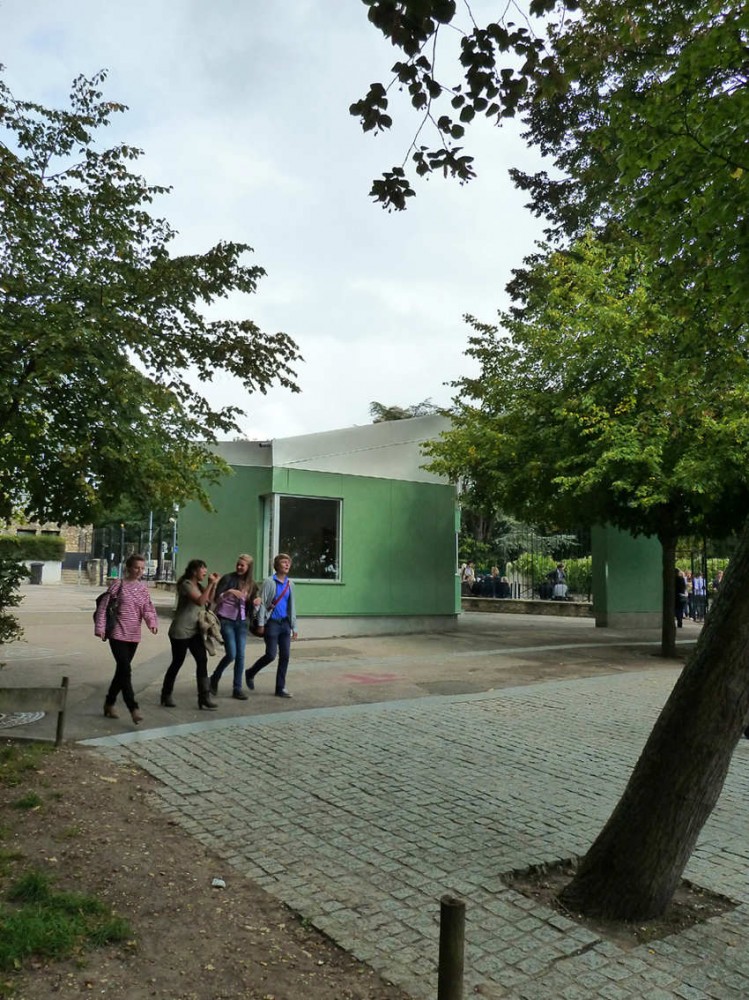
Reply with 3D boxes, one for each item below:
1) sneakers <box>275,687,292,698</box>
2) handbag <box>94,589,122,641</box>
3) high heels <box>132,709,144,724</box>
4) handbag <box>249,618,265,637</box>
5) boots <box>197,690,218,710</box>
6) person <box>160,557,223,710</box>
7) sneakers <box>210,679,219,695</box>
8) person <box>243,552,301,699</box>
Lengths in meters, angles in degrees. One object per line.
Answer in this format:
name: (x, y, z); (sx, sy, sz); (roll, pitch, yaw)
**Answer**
sneakers: (-1.113, 2.392, 9.639); (0.088, 0.105, 0.253); (4, -8, -34)
handbag: (-2.662, 1.150, 7.915); (0.265, 0.537, 0.451); (2, -4, -17)
high heels: (-2.325, 2.145, 7.725); (0.069, 0.097, 0.164); (-17, 30, -37)
handbag: (-1.429, 1.600, 9.580); (0.175, 0.200, 0.224); (1, -5, 3)
boots: (-1.851, 2.253, 8.780); (0.203, 0.197, 0.264); (1, -3, -9)
person: (-2.117, 1.546, 9.017); (0.607, 1.664, 0.892); (2, -4, -15)
sneakers: (-1.927, 2.313, 9.520); (0.128, 0.165, 0.176); (6, -12, -26)
person: (-1.241, 1.582, 9.769); (0.460, 1.731, 0.600); (1, -3, -9)
